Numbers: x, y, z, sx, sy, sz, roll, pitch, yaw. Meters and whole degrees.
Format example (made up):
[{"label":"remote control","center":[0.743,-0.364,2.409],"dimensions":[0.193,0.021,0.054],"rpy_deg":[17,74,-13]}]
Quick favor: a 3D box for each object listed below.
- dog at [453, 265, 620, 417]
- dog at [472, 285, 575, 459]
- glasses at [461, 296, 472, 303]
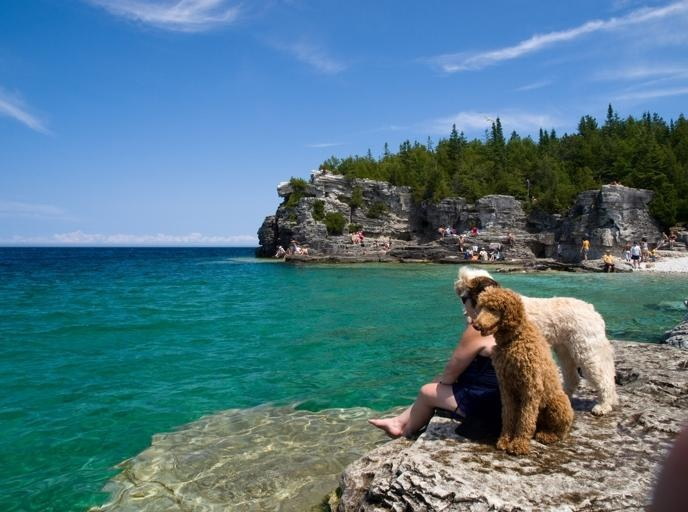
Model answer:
[{"label":"dog","center":[2.163,1.058,5.384],"dimensions":[2.125,1.170,0.661],"rpy_deg":[5,-9,-31]},{"label":"dog","center":[1.784,1.125,4.696],"dimensions":[0.984,1.623,0.392],"rpy_deg":[-1,9,8]},{"label":"glasses","center":[1.331,0.472,5.188],"dimensions":[0.090,0.062,0.089],"rpy_deg":[1,3,-30]}]
